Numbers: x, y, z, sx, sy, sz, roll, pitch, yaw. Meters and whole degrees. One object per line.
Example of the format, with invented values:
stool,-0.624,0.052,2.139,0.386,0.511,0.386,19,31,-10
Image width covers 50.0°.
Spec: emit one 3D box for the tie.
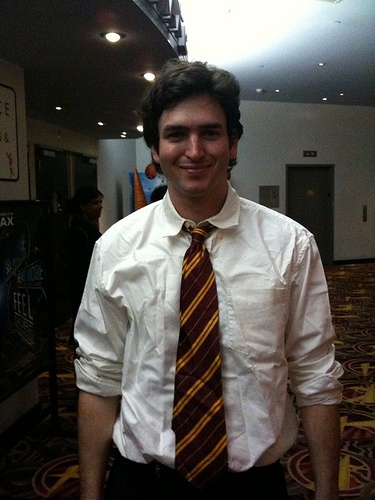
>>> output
tie,0.017,0.205,0.818,0.100,0.476,0.189,-1,7,-3
